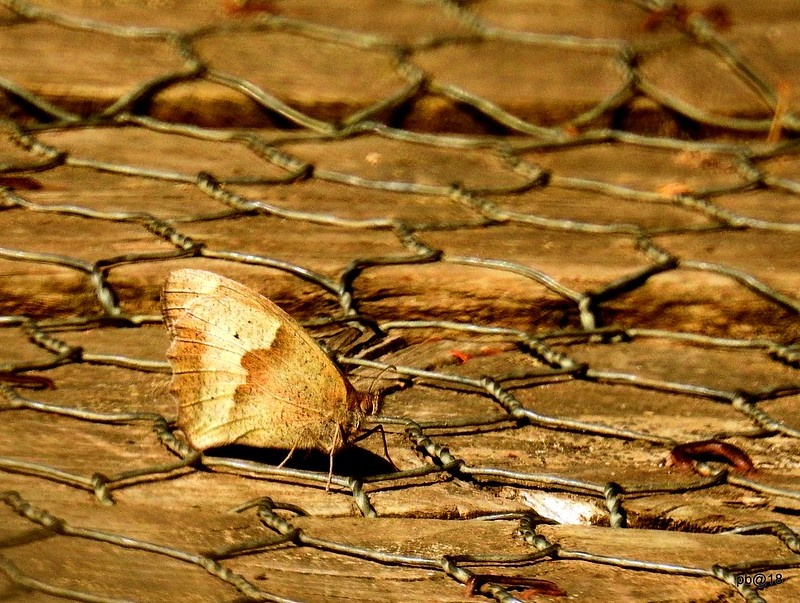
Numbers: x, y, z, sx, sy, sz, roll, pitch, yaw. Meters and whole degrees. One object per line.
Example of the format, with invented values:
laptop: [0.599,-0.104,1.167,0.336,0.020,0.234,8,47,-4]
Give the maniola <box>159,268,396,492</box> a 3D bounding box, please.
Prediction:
maniola: [-0.222,0.167,3.181,0.329,0.651,0.421,20,75,-38]
